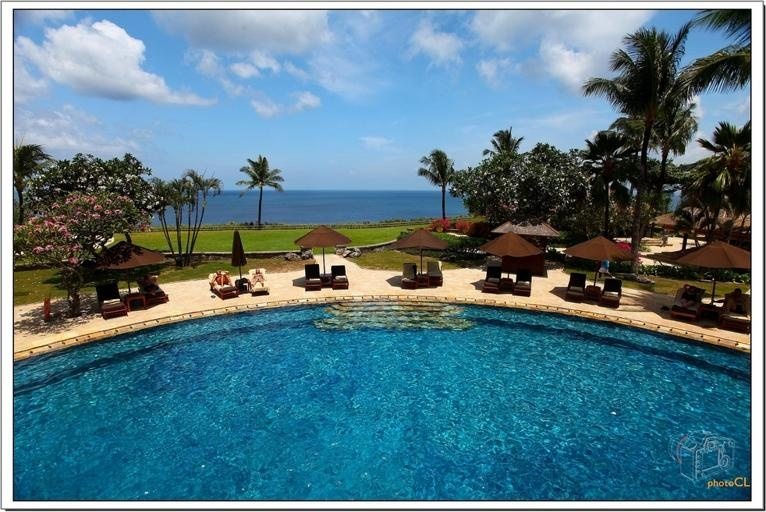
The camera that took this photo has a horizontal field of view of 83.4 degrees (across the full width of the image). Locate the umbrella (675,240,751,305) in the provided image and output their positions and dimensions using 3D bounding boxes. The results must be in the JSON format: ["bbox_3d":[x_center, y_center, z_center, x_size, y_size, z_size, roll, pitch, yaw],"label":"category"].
[{"bbox_3d":[16.298,0.793,21.575,3.201,2.225,2.994,-1,4,14],"label":"umbrella"}]

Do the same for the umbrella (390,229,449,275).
[{"bbox_3d":[2.414,-0.169,27.102,4.158,2.936,3.838,-4,6,-35],"label":"umbrella"}]

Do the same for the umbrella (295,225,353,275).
[{"bbox_3d":[-3.548,-0.402,25.864,3.042,2.458,3.069,4,-17,-30],"label":"umbrella"}]

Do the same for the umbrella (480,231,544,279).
[{"bbox_3d":[7.609,-0.040,26.315,3.715,2.668,3.446,1,15,-2],"label":"umbrella"}]

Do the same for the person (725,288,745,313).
[{"bbox_3d":[17.412,2.216,21.228,0.911,1.174,0.485,6,-4,44],"label":"person"}]

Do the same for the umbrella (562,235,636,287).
[{"bbox_3d":[12.146,0.268,24.411,3.784,2.794,3.493,1,13,-5],"label":"umbrella"}]

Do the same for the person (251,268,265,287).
[{"bbox_3d":[-7.430,1.297,25.720,0.693,1.040,0.665,-7,-36,-12],"label":"person"}]
